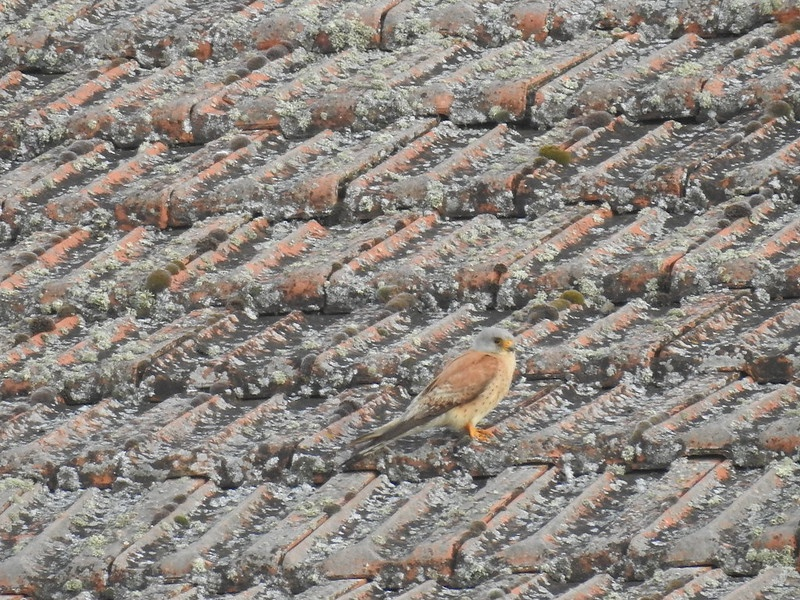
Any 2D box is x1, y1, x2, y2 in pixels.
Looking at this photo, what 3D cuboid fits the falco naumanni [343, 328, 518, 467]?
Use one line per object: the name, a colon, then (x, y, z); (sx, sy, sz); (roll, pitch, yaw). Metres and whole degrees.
falco naumanni: (0.128, 0.536, 13.780); (1.253, 0.635, 0.314); (-11, 5, -32)
